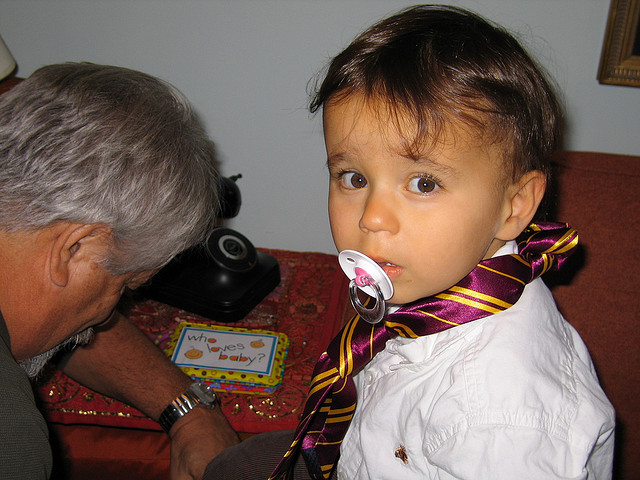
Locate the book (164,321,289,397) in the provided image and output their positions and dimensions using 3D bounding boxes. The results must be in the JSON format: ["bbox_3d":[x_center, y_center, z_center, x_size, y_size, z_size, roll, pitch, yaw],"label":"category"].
[{"bbox_3d":[-0.206,0.249,1.206,0.220,0.051,0.124,7,46,12],"label":"book"}]

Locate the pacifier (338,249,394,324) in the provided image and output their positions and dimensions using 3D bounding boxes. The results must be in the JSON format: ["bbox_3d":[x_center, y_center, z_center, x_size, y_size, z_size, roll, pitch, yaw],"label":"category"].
[{"bbox_3d":[0.071,0.080,0.861,0.046,0.148,0.083,-23,33,-34],"label":"pacifier"}]
